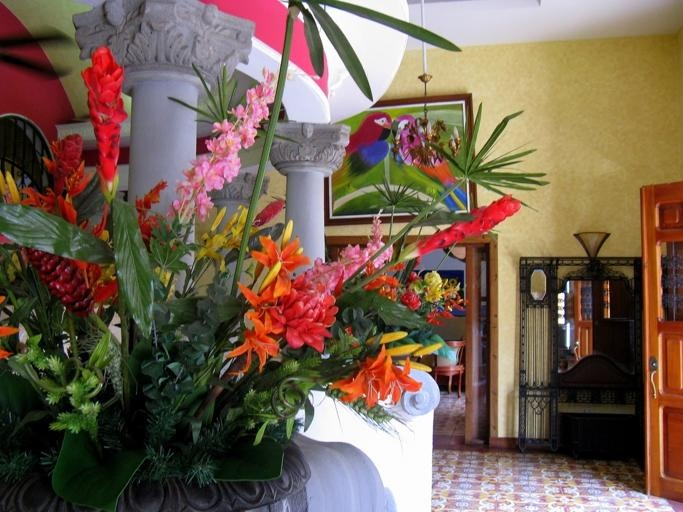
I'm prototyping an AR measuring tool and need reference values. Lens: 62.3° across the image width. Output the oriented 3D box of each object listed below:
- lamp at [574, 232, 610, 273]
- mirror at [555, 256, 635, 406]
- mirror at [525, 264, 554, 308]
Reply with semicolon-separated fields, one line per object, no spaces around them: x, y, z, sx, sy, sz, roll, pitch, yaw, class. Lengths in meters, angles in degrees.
2.990;-0.026;6.899;0.408;0.511;0.443;-4;-1;3;lamp
3.102;0.892;6.820;0.921;1.743;0.348;1;-1;21;mirror
2.405;0.373;6.864;0.447;0.695;0.047;0;-6;3;mirror
